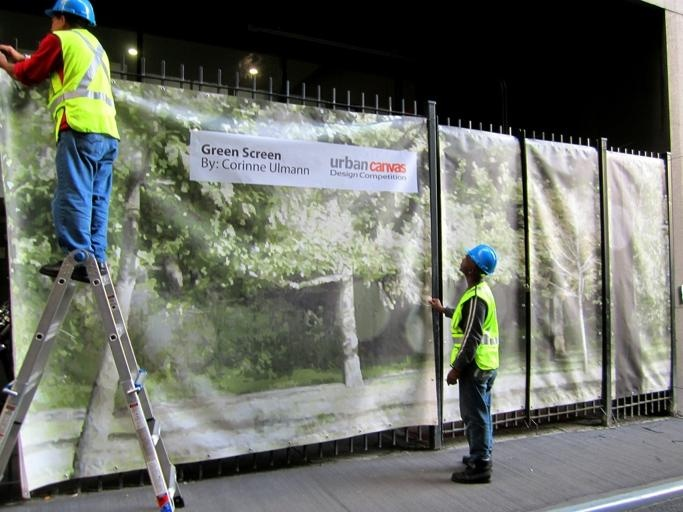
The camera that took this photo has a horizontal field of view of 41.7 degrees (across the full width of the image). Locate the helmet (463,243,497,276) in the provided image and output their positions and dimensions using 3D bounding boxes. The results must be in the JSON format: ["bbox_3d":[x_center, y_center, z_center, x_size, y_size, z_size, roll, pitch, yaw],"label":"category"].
[{"bbox_3d":[1.478,-0.024,9.574,0.249,0.179,0.334,21,24,-27],"label":"helmet"}]

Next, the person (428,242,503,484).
[{"bbox_3d":[1.374,1.124,9.437,0.509,2.326,0.776,3,12,10],"label":"person"}]

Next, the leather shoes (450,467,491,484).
[{"bbox_3d":[1.363,2.274,9.395,0.365,0.192,0.167,3,-4,3],"label":"leather shoes"}]
